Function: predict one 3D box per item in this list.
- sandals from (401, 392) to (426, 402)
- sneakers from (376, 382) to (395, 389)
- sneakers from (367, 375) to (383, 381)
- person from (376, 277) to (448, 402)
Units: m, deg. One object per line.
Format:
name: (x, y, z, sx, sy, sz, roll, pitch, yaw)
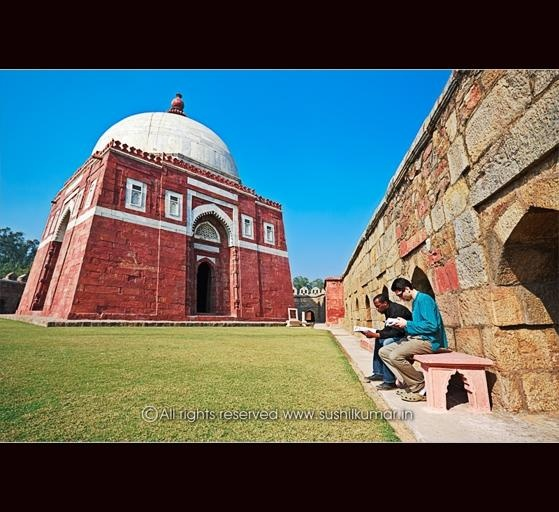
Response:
sandals: (1.118, 1.139, 2.646, 0.168, 0.049, 0.078, 3, -16, -8)
sneakers: (0.994, 1.185, 2.983, 0.162, 0.069, 0.064, 5, -17, -9)
sneakers: (0.986, 1.230, 3.272, 0.161, 0.070, 0.059, 3, -11, 5)
person: (1.273, 0.725, 2.966, 0.565, 1.053, 0.487, -8, -21, 26)
